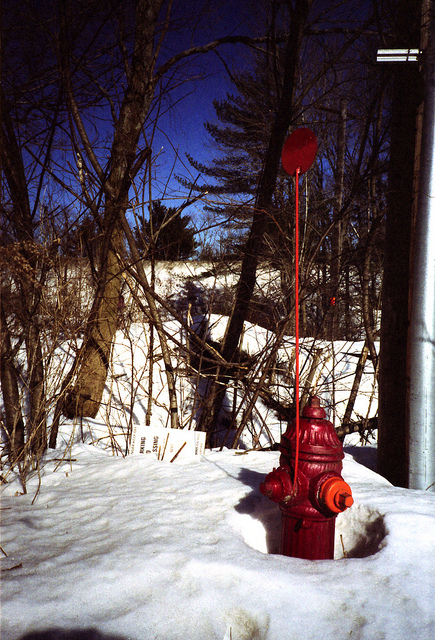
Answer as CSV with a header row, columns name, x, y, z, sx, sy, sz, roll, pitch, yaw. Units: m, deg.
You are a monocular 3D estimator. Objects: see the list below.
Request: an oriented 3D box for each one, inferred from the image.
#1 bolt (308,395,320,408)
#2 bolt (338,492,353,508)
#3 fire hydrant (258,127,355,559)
name,x,y,z,sx,sy,sz,roll,pitch,yaw
bolt,0.484,0.412,2.680,0.051,0.057,0.055,-2,9,-22
bolt,0.573,0.807,2.381,0.061,0.056,0.045,7,-4,11
fire hydrant,0.434,0.216,2.552,0.519,2.119,0.490,2,10,23
